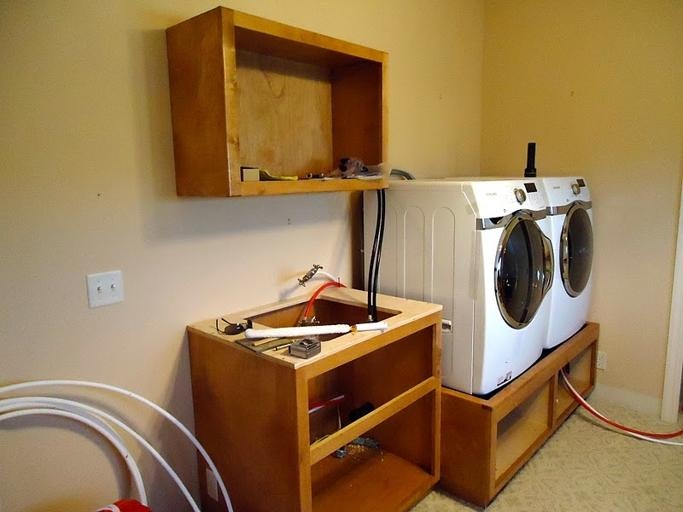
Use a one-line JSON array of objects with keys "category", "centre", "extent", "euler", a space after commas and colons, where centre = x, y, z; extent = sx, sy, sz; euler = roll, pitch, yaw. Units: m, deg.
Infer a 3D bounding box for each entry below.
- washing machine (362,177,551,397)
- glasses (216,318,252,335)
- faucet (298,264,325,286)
[{"category": "washing machine", "centre": [0.701, 0.101, 3.021], "extent": [0.936, 1.068, 0.990], "euler": [-1, 10, 12]}, {"category": "glasses", "centre": [-0.482, 0.309, 2.358], "extent": [0.113, 0.053, 0.084], "euler": [9, 12, 23]}, {"category": "faucet", "centre": [-0.159, 0.098, 2.852], "extent": [0.149, 0.074, 0.061], "euler": [-45, 2, 27]}]
